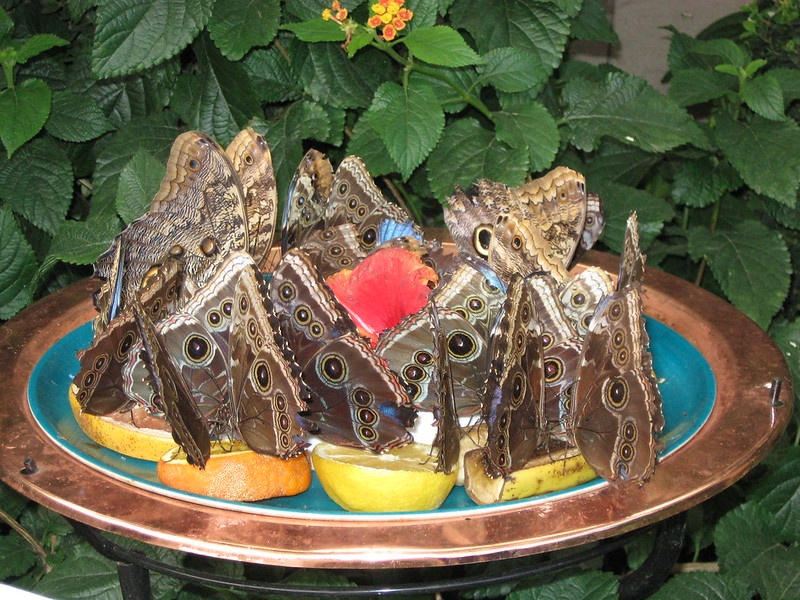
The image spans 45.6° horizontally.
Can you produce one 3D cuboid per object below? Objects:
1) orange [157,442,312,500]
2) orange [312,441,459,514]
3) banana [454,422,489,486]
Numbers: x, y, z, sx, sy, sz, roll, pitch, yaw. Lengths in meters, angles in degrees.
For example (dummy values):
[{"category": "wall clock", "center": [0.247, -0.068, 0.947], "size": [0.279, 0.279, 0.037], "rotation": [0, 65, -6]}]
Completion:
[{"category": "orange", "center": [-0.346, 0.379, 2.038], "size": [0.176, 0.061, 0.168], "rotation": [9, -5, -44]}, {"category": "orange", "center": [-0.090, 0.416, 2.146], "size": [0.290, 0.136, 0.292], "rotation": [14, -5, -25]}, {"category": "banana", "center": [0.150, 0.341, 2.080], "size": [0.067, 0.129, 0.041], "rotation": [5, -23, 8]}]
